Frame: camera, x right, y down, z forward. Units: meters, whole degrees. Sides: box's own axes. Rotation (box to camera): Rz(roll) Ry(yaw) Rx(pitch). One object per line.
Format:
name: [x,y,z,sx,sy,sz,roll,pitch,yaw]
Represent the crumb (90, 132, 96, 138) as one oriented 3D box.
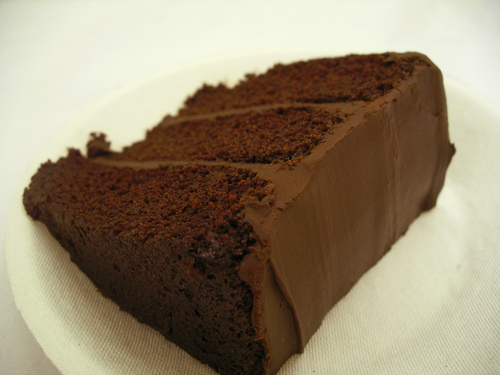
crumb: [-0.810,-0.269,2.653,0.017,0.020,0.005,-18,-18,30]
